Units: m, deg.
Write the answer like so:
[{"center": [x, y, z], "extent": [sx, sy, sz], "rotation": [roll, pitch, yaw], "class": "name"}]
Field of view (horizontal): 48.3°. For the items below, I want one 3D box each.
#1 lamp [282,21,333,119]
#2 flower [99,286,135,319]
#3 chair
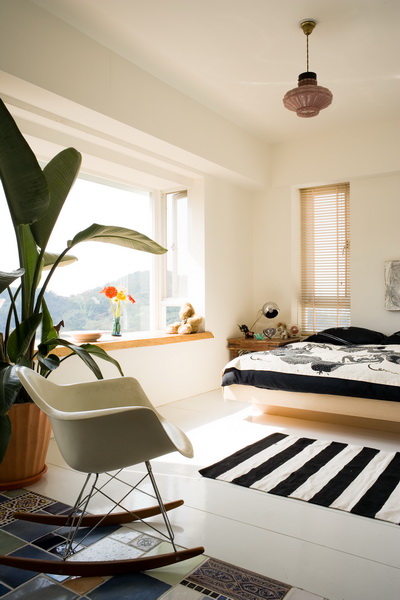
[{"center": [0.764, -1.612, 3.218], "extent": [0.334, 0.499, 0.636], "rotation": [-1, -2, -2], "class": "lamp"}, {"center": [-0.784, 0.014, 4.235], "extent": [0.315, 0.316, 0.316], "rotation": [1, 0, -2], "class": "flower"}, {"center": [-0.335, 0.571, 1.780], "extent": [0.774, 0.741, 0.613], "rotation": [0, 4, -11], "class": "chair"}]
